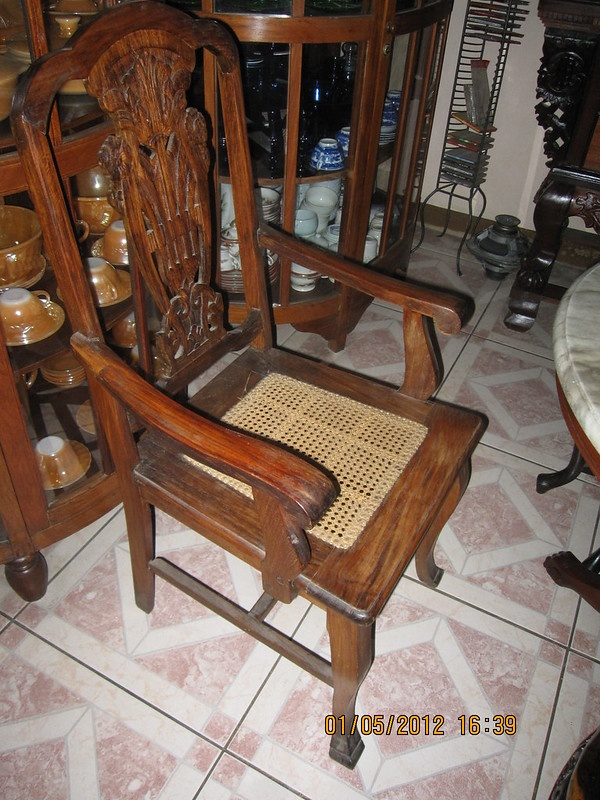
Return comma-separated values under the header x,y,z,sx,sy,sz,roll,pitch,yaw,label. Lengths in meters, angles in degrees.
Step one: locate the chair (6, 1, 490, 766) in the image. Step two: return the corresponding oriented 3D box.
x,y,z,sx,sy,sz,roll,pitch,yaw,label
-0.058,-0.004,1.038,0.727,1.099,0.525,28,42,30,chair
